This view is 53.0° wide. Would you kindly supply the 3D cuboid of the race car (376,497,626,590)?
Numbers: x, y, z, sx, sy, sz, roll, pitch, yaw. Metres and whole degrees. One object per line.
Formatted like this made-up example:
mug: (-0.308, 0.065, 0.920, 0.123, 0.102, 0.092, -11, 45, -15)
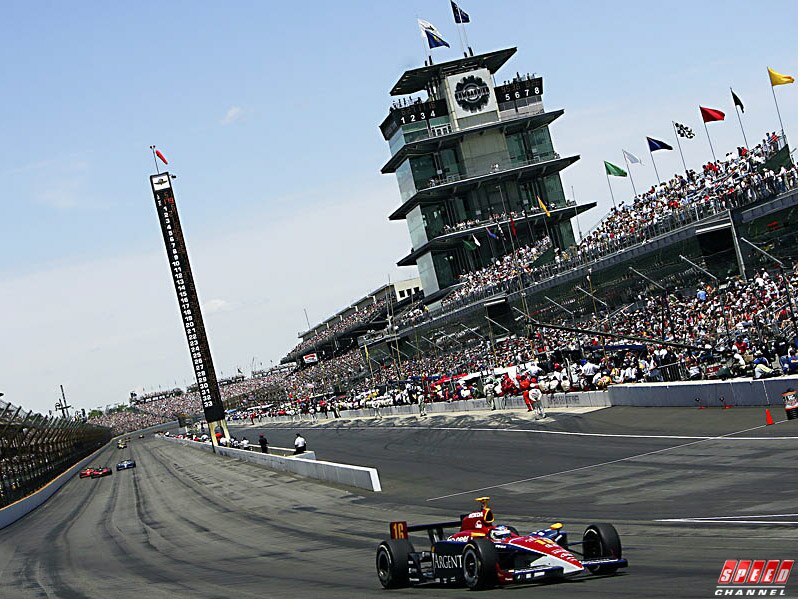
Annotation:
race car: (1.675, 4.935, 15.027, 2.450, 1.077, 3.873, 0, -8, -33)
